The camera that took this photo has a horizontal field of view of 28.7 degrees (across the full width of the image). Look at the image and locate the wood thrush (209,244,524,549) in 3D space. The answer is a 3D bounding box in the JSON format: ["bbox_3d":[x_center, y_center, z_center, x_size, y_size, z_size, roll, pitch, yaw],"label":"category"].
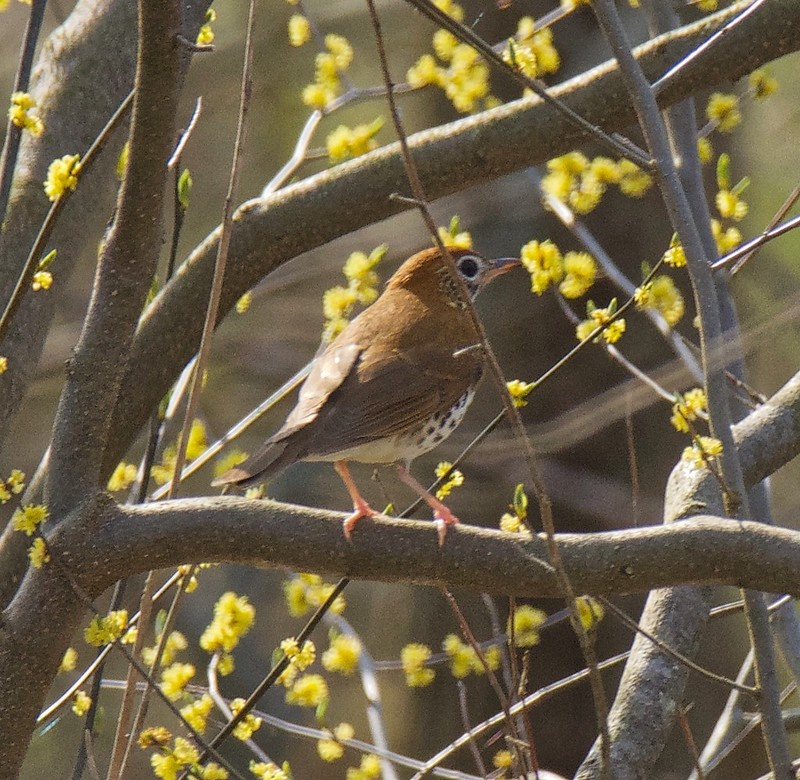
[{"bbox_3d":[-0.065,0.026,5.613,1.167,0.447,1.071,-4,-89,-32],"label":"wood thrush"}]
